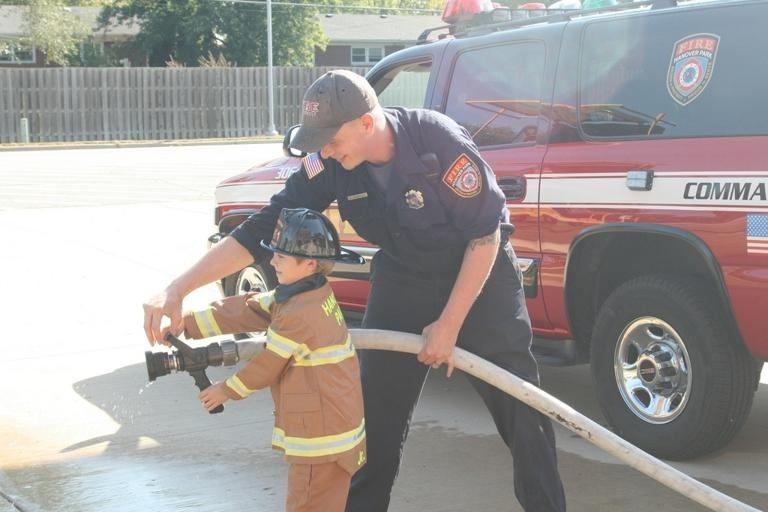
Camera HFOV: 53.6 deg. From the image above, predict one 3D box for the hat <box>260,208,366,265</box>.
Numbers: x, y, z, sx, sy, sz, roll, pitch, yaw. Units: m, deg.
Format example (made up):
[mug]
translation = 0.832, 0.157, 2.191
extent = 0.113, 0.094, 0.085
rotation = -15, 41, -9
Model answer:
[hat]
translation = -0.356, -0.108, 3.777
extent = 0.544, 0.226, 0.377
rotation = 5, 11, -6
